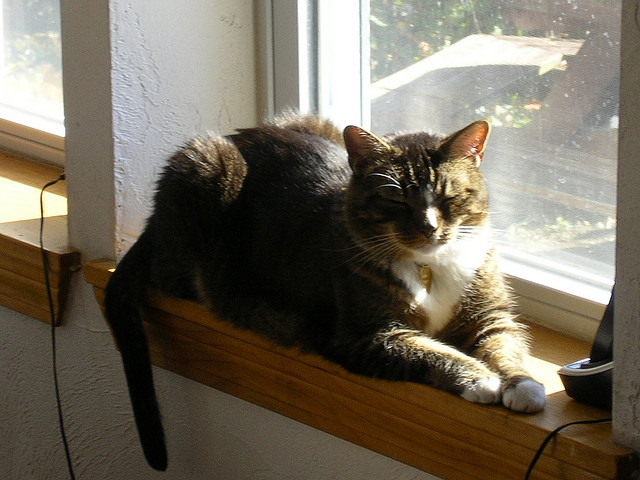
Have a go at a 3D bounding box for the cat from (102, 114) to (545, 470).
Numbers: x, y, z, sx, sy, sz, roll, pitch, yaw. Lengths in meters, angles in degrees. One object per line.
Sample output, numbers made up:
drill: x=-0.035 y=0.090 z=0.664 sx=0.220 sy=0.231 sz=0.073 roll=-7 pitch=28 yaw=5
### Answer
cat: x=-0.025 y=0.072 z=1.530 sx=0.745 sy=0.317 sz=0.907 roll=-27 pitch=36 yaw=-32
